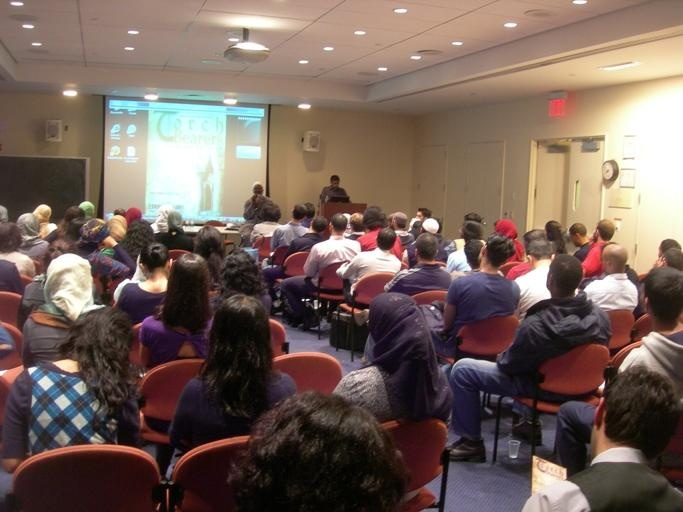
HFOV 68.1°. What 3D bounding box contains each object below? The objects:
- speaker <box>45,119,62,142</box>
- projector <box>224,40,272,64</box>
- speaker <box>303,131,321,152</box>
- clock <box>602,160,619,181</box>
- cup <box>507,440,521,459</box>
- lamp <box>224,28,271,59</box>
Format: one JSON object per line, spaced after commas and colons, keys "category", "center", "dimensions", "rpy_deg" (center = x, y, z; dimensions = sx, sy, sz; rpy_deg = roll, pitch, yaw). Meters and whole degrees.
{"category": "speaker", "center": [-6.579, -2.892, 11.642], "dimensions": [0.360, 0.508, 0.246], "rpy_deg": [-2, 8, -32]}
{"category": "projector", "center": [-1.380, -2.996, 7.295], "dimensions": [0.516, 0.364, 0.721], "rpy_deg": [-1, 9, -25]}
{"category": "speaker", "center": [-0.784, -2.976, 13.082], "dimensions": [0.496, 0.553, 0.270], "rpy_deg": [-2, 2, -36]}
{"category": "clock", "center": [4.600, -1.473, 8.651], "dimensions": [0.079, 0.271, 0.264], "rpy_deg": [-5, 34, -17]}
{"category": "cup", "center": [1.231, 1.381, 3.634], "dimensions": [0.093, 0.104, 0.091], "rpy_deg": [6, -2, 0]}
{"category": "lamp", "center": [-1.342, -2.941, 7.241], "dimensions": [0.498, 0.401, 0.557], "rpy_deg": [0, -1, -7]}
